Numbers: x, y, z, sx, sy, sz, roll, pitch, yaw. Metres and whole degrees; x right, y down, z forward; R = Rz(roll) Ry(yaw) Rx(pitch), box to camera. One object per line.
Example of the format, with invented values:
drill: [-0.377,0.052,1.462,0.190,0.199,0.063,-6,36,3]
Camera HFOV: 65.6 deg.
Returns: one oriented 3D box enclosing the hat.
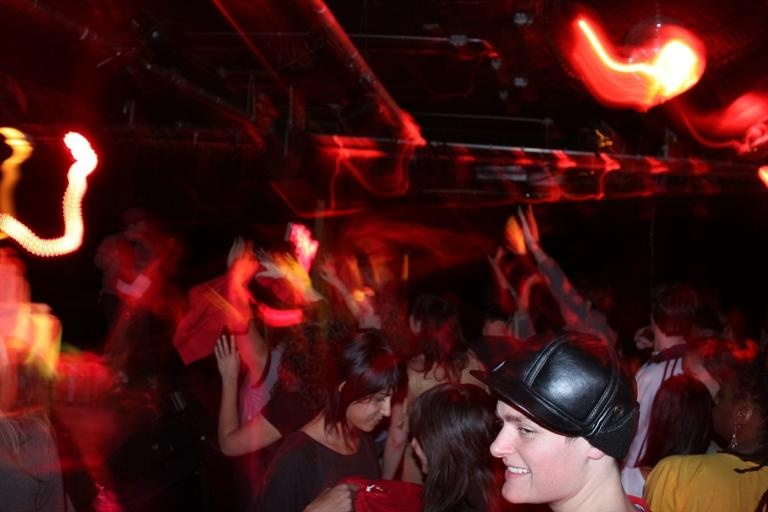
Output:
hat: [0.921,0.697,3.265,0.781,0.439,0.584,21,4,-12]
